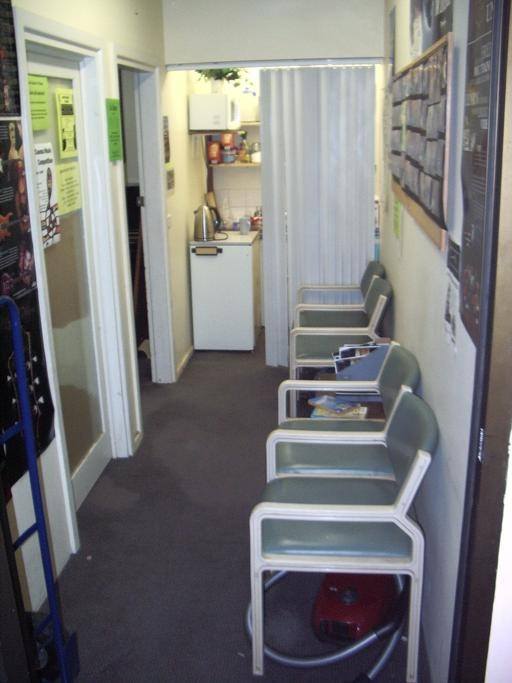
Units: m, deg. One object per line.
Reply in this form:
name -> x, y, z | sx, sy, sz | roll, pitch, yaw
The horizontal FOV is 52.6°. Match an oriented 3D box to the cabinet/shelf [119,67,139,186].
cabinet/shelf -> -1.061, -1.760, 4.331 | 0.108, 0.880, 0.425 | -4, 12, -16

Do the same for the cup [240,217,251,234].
cup -> -0.110, -1.112, 4.887 | 0.088, 0.217, 0.177 | -2, 27, -4

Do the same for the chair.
chair -> 0.362, 0.512, 2.230 | 0.628, 0.924, 1.548 | 1, 15, 12

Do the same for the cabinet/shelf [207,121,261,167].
cabinet/shelf -> -0.218, -1.962, 5.166 | 0.565, 0.395, 0.517 | -5, 14, -11

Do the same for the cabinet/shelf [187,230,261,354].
cabinet/shelf -> -0.162, -0.510, 4.916 | 0.566, 1.488, 0.929 | 0, 17, 3

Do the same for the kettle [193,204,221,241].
kettle -> -0.423, -1.084, 4.786 | 0.170, 0.435, 0.332 | 3, 13, 14
